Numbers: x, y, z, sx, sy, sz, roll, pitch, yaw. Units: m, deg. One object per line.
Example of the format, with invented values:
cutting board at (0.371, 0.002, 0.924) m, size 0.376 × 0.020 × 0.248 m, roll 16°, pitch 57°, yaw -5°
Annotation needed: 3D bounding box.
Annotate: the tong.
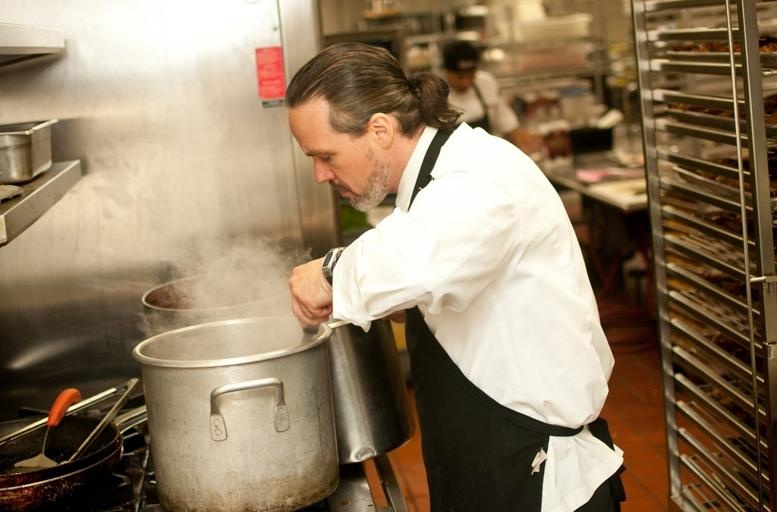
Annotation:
tong at (-1.009, 0.521, 2.183) m, size 0.211 × 0.071 × 0.342 m, roll 4°, pitch 17°, yaw 25°
